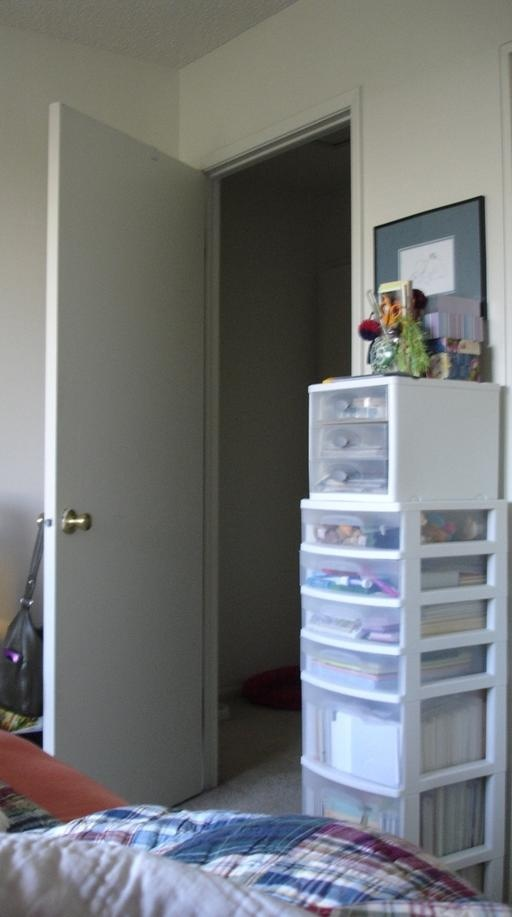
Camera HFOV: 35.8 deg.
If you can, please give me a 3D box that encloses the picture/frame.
[{"bbox_3d":[0.426,-0.486,1.902,0.013,0.281,0.367,3,-4,-29],"label":"picture/frame"}]
